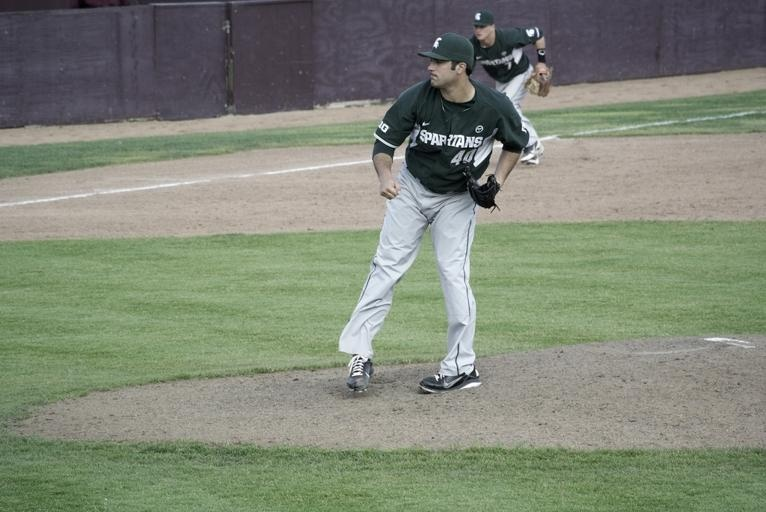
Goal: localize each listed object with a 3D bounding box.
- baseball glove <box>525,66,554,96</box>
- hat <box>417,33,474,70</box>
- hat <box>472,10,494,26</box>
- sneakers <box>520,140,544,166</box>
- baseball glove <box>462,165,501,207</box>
[{"bbox_3d":[2.407,-2.659,23.995,0.351,0.442,0.211,15,19,6],"label":"baseball glove"},{"bbox_3d":[0.714,-2.330,17.480,0.683,0.345,0.464,3,2,-31],"label":"hat"},{"bbox_3d":[1.494,-3.556,23.343,0.307,0.241,0.273,1,7,-1],"label":"hat"},{"bbox_3d":[2.350,-1.644,24.466,0.222,0.249,0.581,10,30,16],"label":"sneakers"},{"bbox_3d":[1.093,-0.725,17.467,0.389,0.495,0.223,21,-48,-35],"label":"baseball glove"}]
